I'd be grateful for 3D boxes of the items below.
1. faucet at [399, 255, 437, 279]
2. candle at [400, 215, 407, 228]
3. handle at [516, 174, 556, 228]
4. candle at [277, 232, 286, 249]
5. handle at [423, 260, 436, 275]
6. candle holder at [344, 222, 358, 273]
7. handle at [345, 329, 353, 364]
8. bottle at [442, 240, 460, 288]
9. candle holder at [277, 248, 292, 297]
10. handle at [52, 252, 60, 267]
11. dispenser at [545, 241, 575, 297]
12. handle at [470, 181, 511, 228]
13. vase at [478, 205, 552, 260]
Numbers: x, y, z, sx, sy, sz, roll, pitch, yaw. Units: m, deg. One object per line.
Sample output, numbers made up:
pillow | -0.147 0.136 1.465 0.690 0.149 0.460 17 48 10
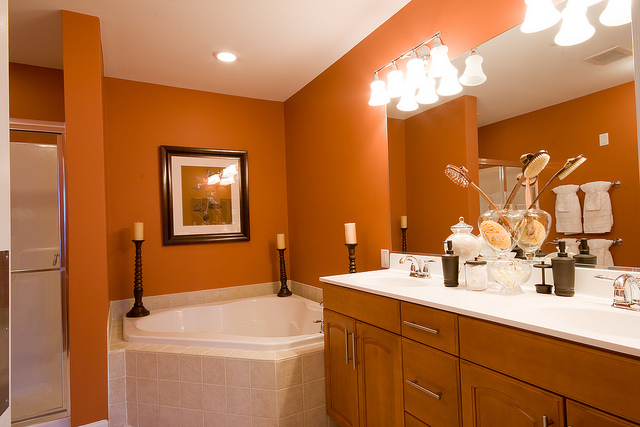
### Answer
faucet | 0.704 0.393 3.312 0.149 0.112 0.208 7 -9 -30
candle | 0.652 0.062 3.609 0.071 0.104 0.070 1 -1 5
handle | 1.326 -0.077 2.842 0.214 0.228 0.066 -1 0 22
candle | -0.409 0.286 4.933 0.075 0.156 0.222 0 0 -5
handle | 0.757 0.377 3.269 0.099 0.140 0.080 -5 -7 31
candle holder | 0.270 0.286 3.902 0.099 0.415 0.346 0 0 4
handle | 0.195 0.899 3.133 0.018 0.235 0.068 0 0 -42
bottle | 0.866 0.320 3.000 0.090 0.290 0.179 -1 0 44
candle holder | -0.371 0.606 4.886 0.143 0.495 0.235 0 0 -4
handle | -1.960 0.338 3.454 0.047 0.092 0.010 0 0 -14
dispenser | 1.394 0.310 2.679 0.169 0.310 0.146 3 -6 -11
handle | 1.119 -0.059 3.021 0.084 0.498 0.085 -3 -38 -17
vase | 1.192 0.112 2.926 0.360 0.336 0.355 -1 -5 0
